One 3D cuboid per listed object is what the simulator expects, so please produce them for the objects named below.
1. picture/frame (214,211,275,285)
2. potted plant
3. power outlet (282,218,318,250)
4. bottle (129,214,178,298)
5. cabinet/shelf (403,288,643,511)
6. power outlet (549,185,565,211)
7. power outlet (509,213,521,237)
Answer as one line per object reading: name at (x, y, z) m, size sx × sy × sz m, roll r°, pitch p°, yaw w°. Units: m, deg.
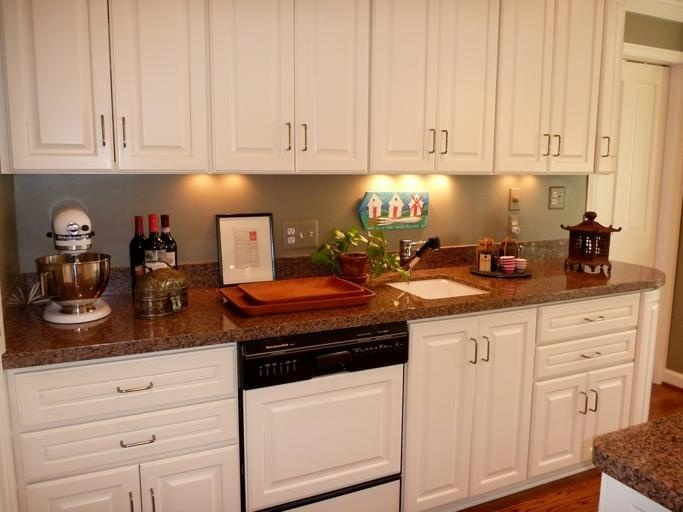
picture/frame at (-0.507, -0.035, 2.814) m, size 0.373 × 0.425 × 0.029 m, roll -4°, pitch -3°, yaw -27°
potted plant at (0.105, -0.013, 2.996) m, size 0.493 × 0.293 × 0.418 m, roll -2°, pitch 11°, yaw 5°
power outlet at (-0.232, -0.121, 2.962) m, size 0.176 × 0.122 × 0.018 m, roll -3°, pitch 7°, yaw -26°
bottle at (-0.892, -0.019, 2.578) m, size 0.189 × 0.346 × 0.287 m, roll -8°, pitch 12°, yaw -23°
cabinet/shelf at (0.828, 0.691, 2.671) m, size 1.142 × 0.643 × 0.354 m, roll -5°, pitch 8°, yaw -28°
power outlet at (1.405, -0.390, 3.610) m, size 0.168 × 0.182 × 0.015 m, roll -4°, pitch 8°, yaw -32°
power outlet at (1.090, -0.204, 3.482) m, size 0.070 × 0.172 × 0.124 m, roll 1°, pitch 12°, yaw 17°
